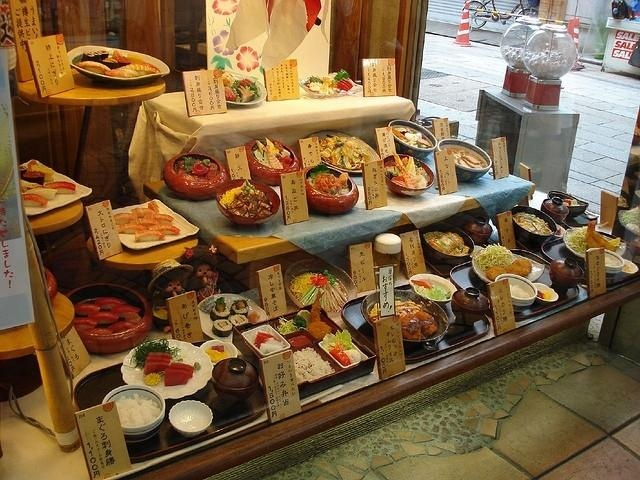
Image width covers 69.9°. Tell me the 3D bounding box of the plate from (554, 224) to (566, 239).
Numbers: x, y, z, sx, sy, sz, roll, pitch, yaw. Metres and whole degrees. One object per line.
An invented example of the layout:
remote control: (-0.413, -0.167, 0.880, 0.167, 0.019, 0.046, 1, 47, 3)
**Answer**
plate: (1.977, -0.073, 3.783, 0.127, 0.122, 0.029, 0, -4, -23)

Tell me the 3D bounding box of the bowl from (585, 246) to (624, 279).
bowl: (2.134, 0.161, 3.372, 0.291, 0.122, 0.280, 1, 27, -1)

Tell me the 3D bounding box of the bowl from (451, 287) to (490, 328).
bowl: (0.908, 0.393, 2.850, 0.226, 0.183, 0.230, 14, 18, -5)

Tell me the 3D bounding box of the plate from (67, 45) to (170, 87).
plate: (-1.139, -0.971, 2.539, 0.435, 0.107, 0.374, 28, 34, 21)

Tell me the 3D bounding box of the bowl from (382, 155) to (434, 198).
bowl: (0.633, -0.484, 3.339, 0.360, 0.188, 0.349, 12, 32, -8)

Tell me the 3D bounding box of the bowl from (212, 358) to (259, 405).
bowl: (-0.398, 0.630, 2.152, 0.196, 0.133, 0.194, 12, 24, -5)

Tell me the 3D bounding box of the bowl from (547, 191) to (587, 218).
bowl: (2.179, -0.310, 4.097, 0.258, 0.108, 0.280, 14, 21, -5)

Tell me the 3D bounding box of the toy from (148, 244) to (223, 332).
toy: (-0.775, 0.265, 2.574, 0.320, 0.453, 0.402, 8, 59, -38)

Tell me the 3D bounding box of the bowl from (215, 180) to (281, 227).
bowl: (-0.431, -0.179, 2.717, 0.318, 0.151, 0.303, 14, 39, -11)

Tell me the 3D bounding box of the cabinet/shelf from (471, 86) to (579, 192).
cabinet/shelf: (1.904, -0.928, 4.169, 0.542, 0.980, 0.709, -5, 32, -10)

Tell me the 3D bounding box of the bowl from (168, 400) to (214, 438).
bowl: (-0.563, 0.780, 2.012, 0.181, 0.050, 0.172, 1, 30, -1)

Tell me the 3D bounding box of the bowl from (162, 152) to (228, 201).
bowl: (-0.773, -0.401, 2.823, 0.351, 0.141, 0.328, 9, 35, -6)
